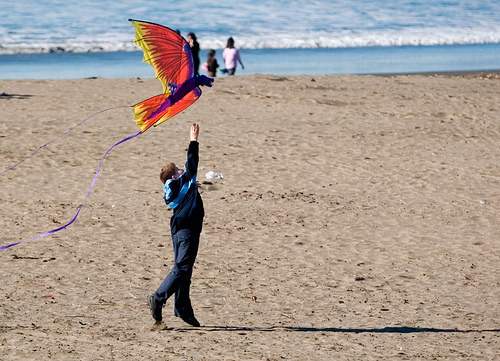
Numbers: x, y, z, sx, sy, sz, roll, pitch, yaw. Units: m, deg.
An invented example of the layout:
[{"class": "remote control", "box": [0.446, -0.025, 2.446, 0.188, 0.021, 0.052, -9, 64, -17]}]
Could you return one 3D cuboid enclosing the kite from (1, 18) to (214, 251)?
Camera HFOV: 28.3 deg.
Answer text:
[{"class": "kite", "box": [-2.205, -1.539, 20.409, 2.088, 3.710, 1.764, -17, 36, -27]}]
